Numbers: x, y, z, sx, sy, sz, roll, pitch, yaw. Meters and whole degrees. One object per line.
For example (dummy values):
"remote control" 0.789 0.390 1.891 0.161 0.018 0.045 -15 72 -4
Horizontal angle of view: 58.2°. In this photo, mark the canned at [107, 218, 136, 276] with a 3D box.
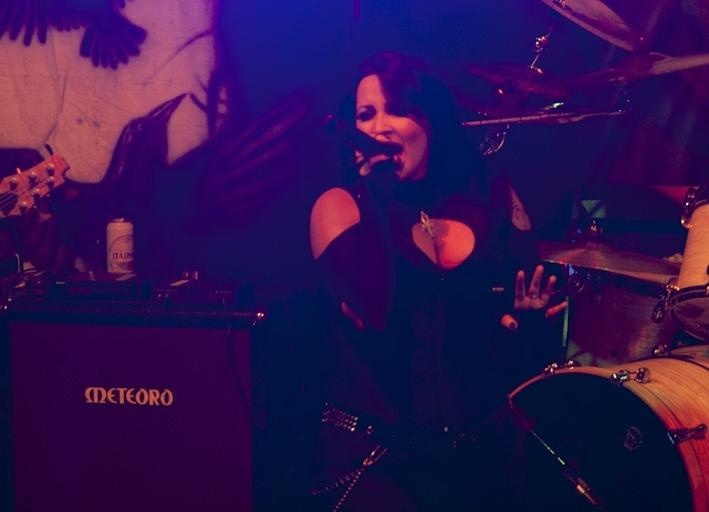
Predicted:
"canned" -1.240 -0.042 3.384 0.139 0.279 0.073 6 7 -20

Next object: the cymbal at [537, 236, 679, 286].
"cymbal" 1.286 0.025 3.226 0.342 0.329 0.094 6 -38 37

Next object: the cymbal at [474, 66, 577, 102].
"cymbal" 0.895 -0.883 3.336 0.584 0.185 0.133 2 24 -15

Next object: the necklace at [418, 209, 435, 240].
"necklace" 0.383 -0.162 3.396 0.077 0.194 0.042 -18 -5 -3
